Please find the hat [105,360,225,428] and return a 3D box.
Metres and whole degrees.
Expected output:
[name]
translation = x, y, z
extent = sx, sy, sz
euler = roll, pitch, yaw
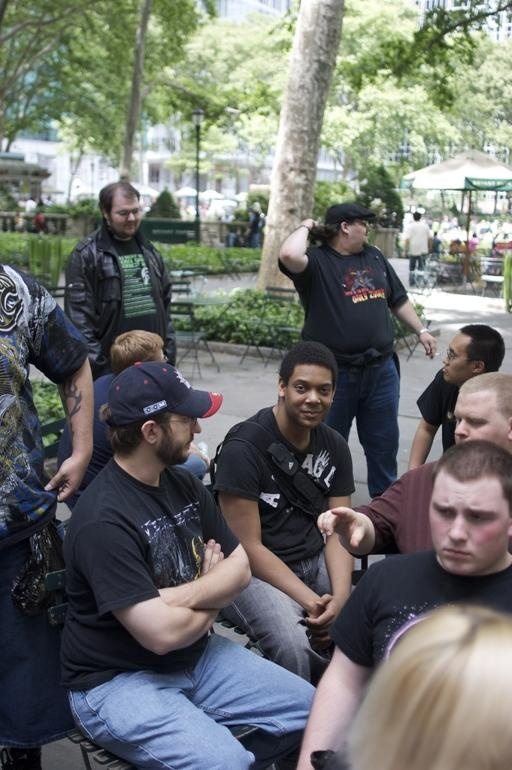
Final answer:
[hat]
translation = -0.332, 0.034, 2.495
extent = 0.364, 0.171, 0.217
euler = -12, 17, -4
